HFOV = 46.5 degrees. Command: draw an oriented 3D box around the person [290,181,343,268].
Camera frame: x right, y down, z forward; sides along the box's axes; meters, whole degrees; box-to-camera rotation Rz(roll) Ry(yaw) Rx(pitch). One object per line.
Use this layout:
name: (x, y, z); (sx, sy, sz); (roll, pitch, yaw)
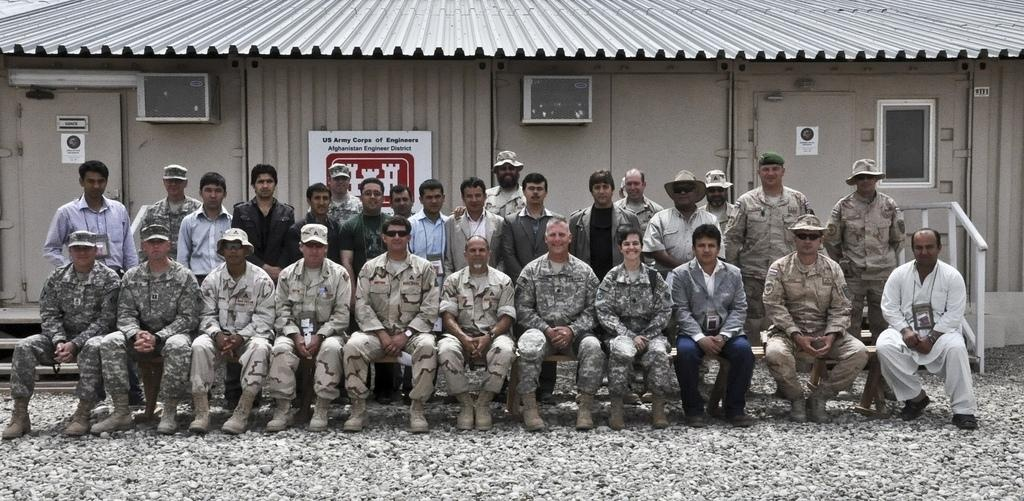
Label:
person: (-2.875, -0.344, 17.711); (0.893, 1.246, 0.787); (2, -7, -29)

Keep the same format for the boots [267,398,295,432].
boots: (-3.241, 2.276, 16.645); (0.167, 0.429, 0.373); (1, 3, 42)

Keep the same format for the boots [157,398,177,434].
boots: (-4.813, 2.289, 16.625); (0.291, 0.476, 0.296); (-1, 2, 7)

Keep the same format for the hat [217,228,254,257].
hat: (-3.895, -0.132, 16.888); (0.463, 0.209, 0.351); (13, -12, -19)

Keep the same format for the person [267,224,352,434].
person: (-2.908, 1.067, 17.166); (1.218, 2.783, 1.031); (1, 0, 0)

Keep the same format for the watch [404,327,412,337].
watch: (-1.473, 1.149, 16.891); (0.103, 0.110, 0.082); (0, 2, 12)

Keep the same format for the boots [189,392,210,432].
boots: (-4.375, 2.240, 16.667); (0.274, 0.542, 0.411); (-2, 3, -14)

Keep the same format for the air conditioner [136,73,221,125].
air conditioner: (-5.368, -2.443, 18.977); (1.103, 0.772, 0.379); (0, -2, -2)

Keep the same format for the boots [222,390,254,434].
boots: (-3.815, 2.206, 16.669); (0.482, 0.634, 0.327); (-2, 2, -16)

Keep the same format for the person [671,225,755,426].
person: (2.815, 1.030, 16.915); (1.155, 2.803, 0.587); (-1, 2, 5)

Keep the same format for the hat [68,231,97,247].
hat: (-6.088, -0.171, 16.898); (0.358, 0.212, 0.314); (-2, 3, -16)

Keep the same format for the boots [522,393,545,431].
boots: (0.293, 2.239, 16.696); (0.345, 0.515, 0.262); (0, 2, 14)

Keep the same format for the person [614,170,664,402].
person: (1.829, 0.630, 17.197); (1.111, 3.396, 0.871); (1, 0, 3)

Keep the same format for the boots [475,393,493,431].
boots: (-0.394, 2.232, 16.771); (0.246, 0.510, 0.304); (-1, 2, -1)

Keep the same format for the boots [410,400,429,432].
boots: (-1.299, 2.302, 16.667); (0.253, 0.410, 0.256); (-1, 2, -6)

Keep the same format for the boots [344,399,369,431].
boots: (-2.201, 2.280, 16.687); (0.326, 0.431, 0.268); (-1, 2, -8)

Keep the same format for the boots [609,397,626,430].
boots: (1.472, 2.255, 16.803); (0.228, 0.433, 0.359); (-1, 2, 4)

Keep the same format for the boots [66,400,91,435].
boots: (-6.027, 2.304, 16.568); (0.404, 0.479, 0.268); (-2, 2, -15)

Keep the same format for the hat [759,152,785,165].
hat: (3.897, -1.375, 17.924); (0.320, 0.188, 0.218); (0, 3, 23)

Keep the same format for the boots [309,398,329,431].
boots: (-2.715, 2.268, 16.747); (0.300, 0.443, 0.376); (-1, 2, -10)

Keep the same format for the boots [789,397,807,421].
boots: (4.070, 2.240, 16.921); (0.260, 0.309, 0.201); (-1, 2, 3)

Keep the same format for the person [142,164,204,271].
person: (-5.129, -0.545, 18.051); (1.321, 1.421, 0.752); (0, -1, 7)

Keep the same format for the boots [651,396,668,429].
boots: (2.084, 2.241, 16.722); (0.218, 0.451, 0.155); (-1, 2, 5)

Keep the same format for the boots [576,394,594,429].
boots: (1.019, 2.241, 16.707); (0.238, 0.485, 0.250); (-1, 2, 3)

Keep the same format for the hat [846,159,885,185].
hat: (5.403, -1.253, 18.140); (0.503, 0.225, 0.613); (-7, -13, 29)

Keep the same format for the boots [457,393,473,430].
boots: (-0.656, 2.234, 16.757); (0.232, 0.491, 0.227); (-1, 2, -3)

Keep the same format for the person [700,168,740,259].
person: (3.155, -0.563, 18.345); (0.616, 1.360, 0.474); (1, 0, 39)

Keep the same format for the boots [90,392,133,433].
boots: (-5.579, 2.250, 16.642); (0.516, 0.547, 0.362); (-1, 2, 10)

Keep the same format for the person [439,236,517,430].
person: (-0.483, 1.161, 16.919); (1.195, 2.570, 0.944); (0, -1, 0)

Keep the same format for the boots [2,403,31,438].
boots: (-6.878, 2.311, 16.513); (0.339, 0.532, 0.230); (-1, 2, -10)

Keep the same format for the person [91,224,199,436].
person: (-5.078, 1.086, 16.714); (1.322, 2.854, 0.581); (-1, 2, 2)

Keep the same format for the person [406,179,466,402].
person: (-1.070, 0.570, 17.848); (1.248, 3.207, 0.985); (-2, 6, -16)

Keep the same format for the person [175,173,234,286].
person: (-4.563, -0.304, 17.692); (0.661, 1.737, 0.644); (0, 1, -14)

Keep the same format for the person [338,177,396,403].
person: (-2.147, 0.454, 18.011); (1.076, 2.905, 0.821); (0, 0, -5)

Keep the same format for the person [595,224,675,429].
person: (1.727, 1.080, 16.881); (1.085, 2.764, 0.643); (-1, 2, 4)
